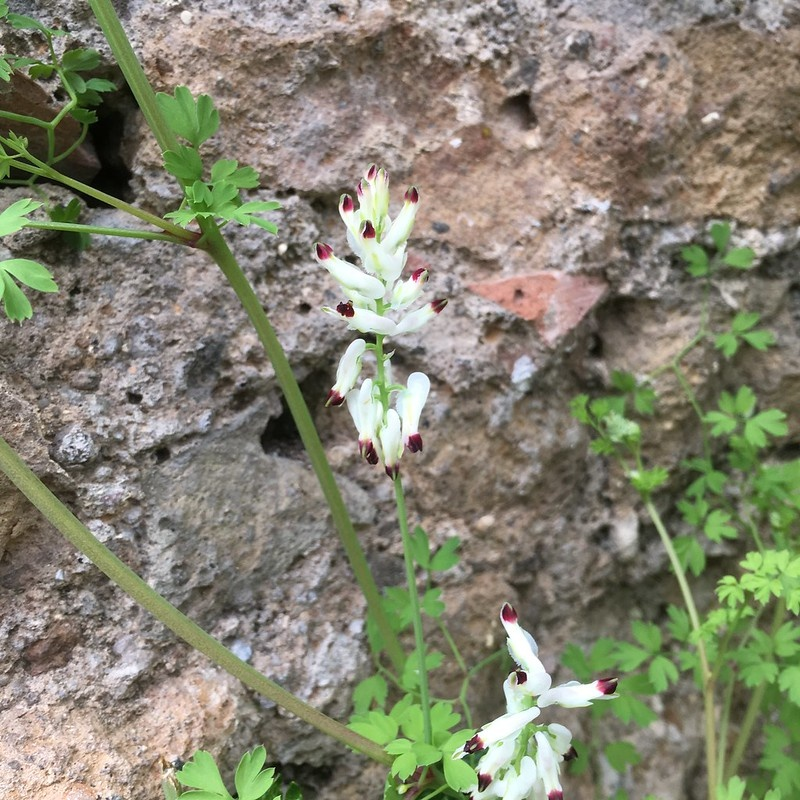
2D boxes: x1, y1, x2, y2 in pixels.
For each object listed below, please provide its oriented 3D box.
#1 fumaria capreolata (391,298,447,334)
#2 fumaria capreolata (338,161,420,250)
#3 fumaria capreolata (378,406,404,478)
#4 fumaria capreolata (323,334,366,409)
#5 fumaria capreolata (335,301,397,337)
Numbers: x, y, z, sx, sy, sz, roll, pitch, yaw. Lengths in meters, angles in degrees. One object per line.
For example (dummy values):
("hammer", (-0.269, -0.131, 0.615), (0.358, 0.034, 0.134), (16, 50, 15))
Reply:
("fumaria capreolata", (0.041, -0.178, 2.607), (0.108, 0.040, 0.032), (-44, 78, -5))
("fumaria capreolata", (-0.044, -0.408, 2.566), (0.121, 0.199, 0.140), (30, 59, 20))
("fumaria capreolata", (-0.022, 0.079, 2.428), (0.049, 0.047, 0.140), (-6, 71, 0))
("fumaria capreolata", (-0.119, -0.066, 2.478), (0.049, 0.057, 0.172), (20, 91, 12))
("fumaria capreolata", (-0.067, -0.166, 2.479), (0.109, 0.047, 0.037), (32, 24, 4))
